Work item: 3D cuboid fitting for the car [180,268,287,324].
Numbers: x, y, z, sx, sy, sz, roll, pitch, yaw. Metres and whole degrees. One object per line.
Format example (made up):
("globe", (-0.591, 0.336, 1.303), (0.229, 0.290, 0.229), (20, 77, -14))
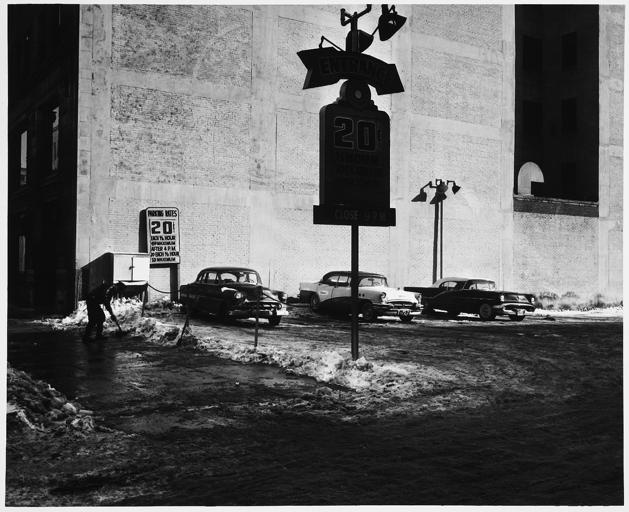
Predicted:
("car", (-2.449, 1.252, 25.132), (1.592, 1.715, 3.420), (-5, 9, -41))

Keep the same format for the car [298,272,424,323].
("car", (1.387, 1.306, 27.926), (1.582, 1.239, 3.640), (2, -1, -34))

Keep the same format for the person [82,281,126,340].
("person", (-5.260, 1.321, 21.434), (0.982, 1.767, 0.664), (6, 15, -25))
